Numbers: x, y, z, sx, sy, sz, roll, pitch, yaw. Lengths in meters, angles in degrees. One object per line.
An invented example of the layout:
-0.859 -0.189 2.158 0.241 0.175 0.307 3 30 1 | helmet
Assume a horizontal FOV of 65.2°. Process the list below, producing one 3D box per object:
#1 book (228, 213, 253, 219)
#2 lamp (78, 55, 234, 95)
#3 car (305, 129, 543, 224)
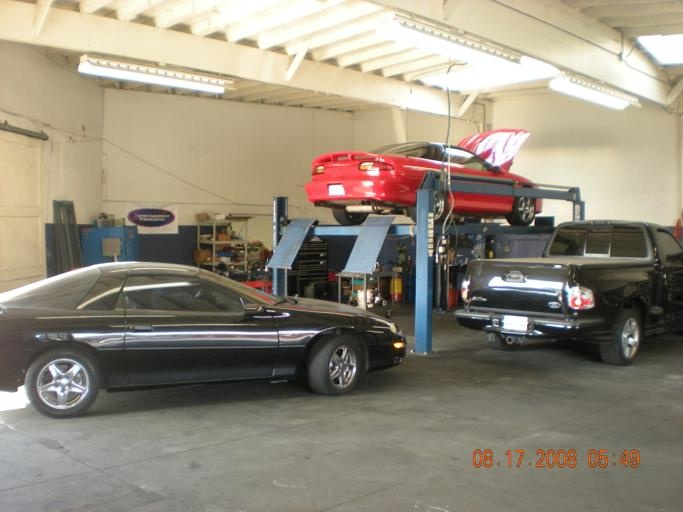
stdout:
-3.272 -1.268 17.098 1.156 0.197 0.262 -2 4 -21 | book
-3.798 -3.835 11.399 0.560 0.304 3.501 -13 -2 42 | lamp
1.748 -1.527 10.072 4.589 1.920 2.462 -4 6 -44 | car
